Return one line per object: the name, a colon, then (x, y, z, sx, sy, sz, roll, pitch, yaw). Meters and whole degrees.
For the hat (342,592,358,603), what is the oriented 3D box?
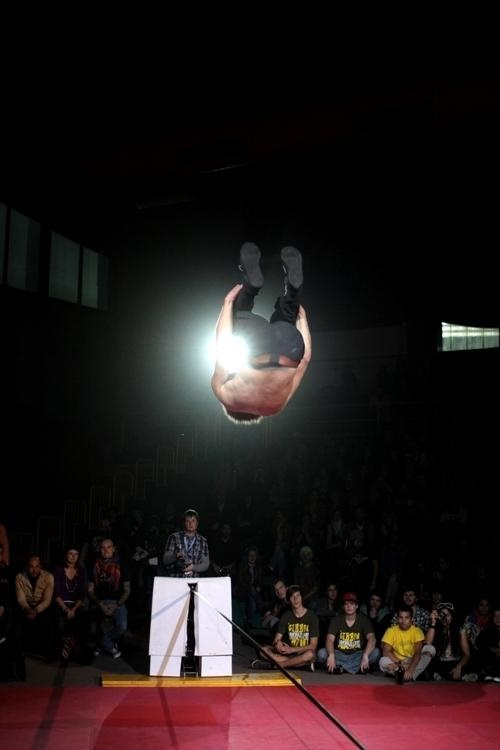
hat: (1.008, 2.278, 6.683, 0.139, 0.101, 0.193, 5, -4, 5)

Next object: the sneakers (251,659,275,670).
sneakers: (0.127, 2.984, 6.773, 0.295, 0.131, 0.102, -2, -7, 11)

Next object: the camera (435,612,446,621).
camera: (1.862, 2.374, 6.451, 0.088, 0.033, 0.093, 2, -2, 16)

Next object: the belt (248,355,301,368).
belt: (0.145, -0.081, 4.256, 0.209, 0.050, 0.119, 2, -5, -9)

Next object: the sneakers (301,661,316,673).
sneakers: (0.603, 3.009, 6.726, 0.080, 0.067, 0.196, 2, -28, -2)
